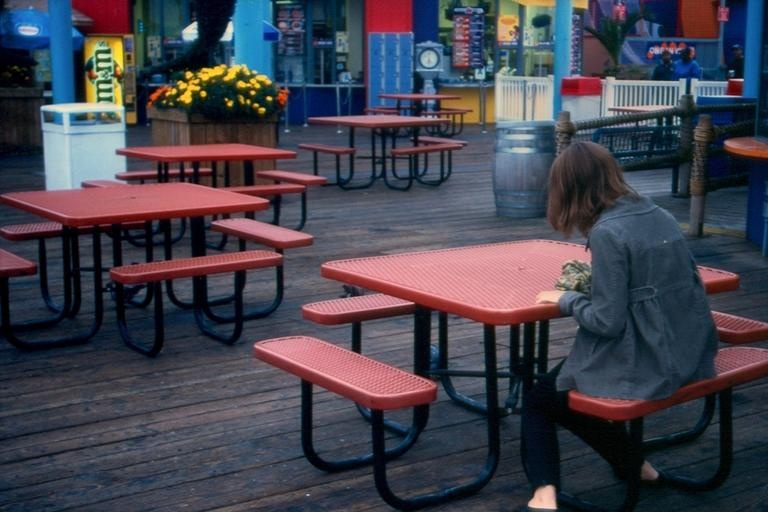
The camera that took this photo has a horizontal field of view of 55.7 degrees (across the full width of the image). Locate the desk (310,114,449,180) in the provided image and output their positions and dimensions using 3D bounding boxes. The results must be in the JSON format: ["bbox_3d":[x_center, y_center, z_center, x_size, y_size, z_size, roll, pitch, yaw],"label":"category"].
[{"bbox_3d":[0.142,-1.888,11.794,1.584,0.379,2.173,-5,5,33],"label":"desk"}]

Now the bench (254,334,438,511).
[{"bbox_3d":[-0.196,0.852,3.571,0.335,0.350,0.934,-10,14,-38],"label":"bench"}]

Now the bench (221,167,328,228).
[{"bbox_3d":[-1.153,-0.598,8.301,1.147,0.567,1.103,6,6,43],"label":"bench"}]

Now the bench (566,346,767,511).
[{"bbox_3d":[1.271,0.804,3.301,1.143,0.268,0.443,-3,3,-34],"label":"bench"}]

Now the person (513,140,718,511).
[{"bbox_3d":[1.021,0.342,3.086,0.837,1.634,0.610,0,18,8],"label":"person"}]

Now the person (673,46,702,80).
[{"bbox_3d":[6.684,-4.235,15.947,0.511,0.669,0.879,4,15,19],"label":"person"}]

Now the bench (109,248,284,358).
[{"bbox_3d":[-1.344,0.360,5.192,0.982,0.366,0.359,-7,20,-32],"label":"bench"}]

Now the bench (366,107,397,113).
[{"bbox_3d":[0.009,-3.469,17.260,0.657,0.148,2.382,0,12,3],"label":"bench"}]
